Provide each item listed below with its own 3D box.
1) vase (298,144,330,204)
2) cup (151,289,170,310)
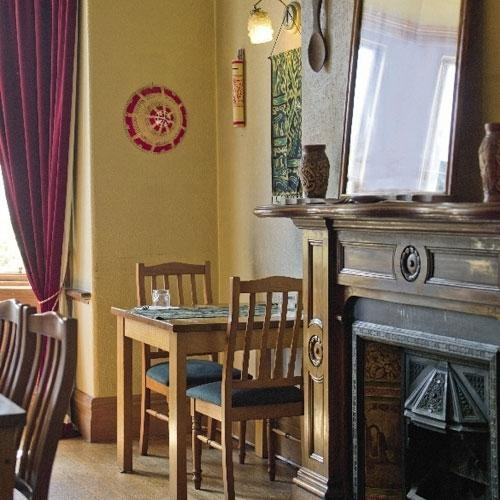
[{"bbox_3d":[0.269,-0.338,2.167,0.112,0.234,0.123,9,29,29],"label":"vase"},{"bbox_3d":[-0.521,0.296,3.069,0.092,0.124,0.093,1,0,0],"label":"cup"}]
